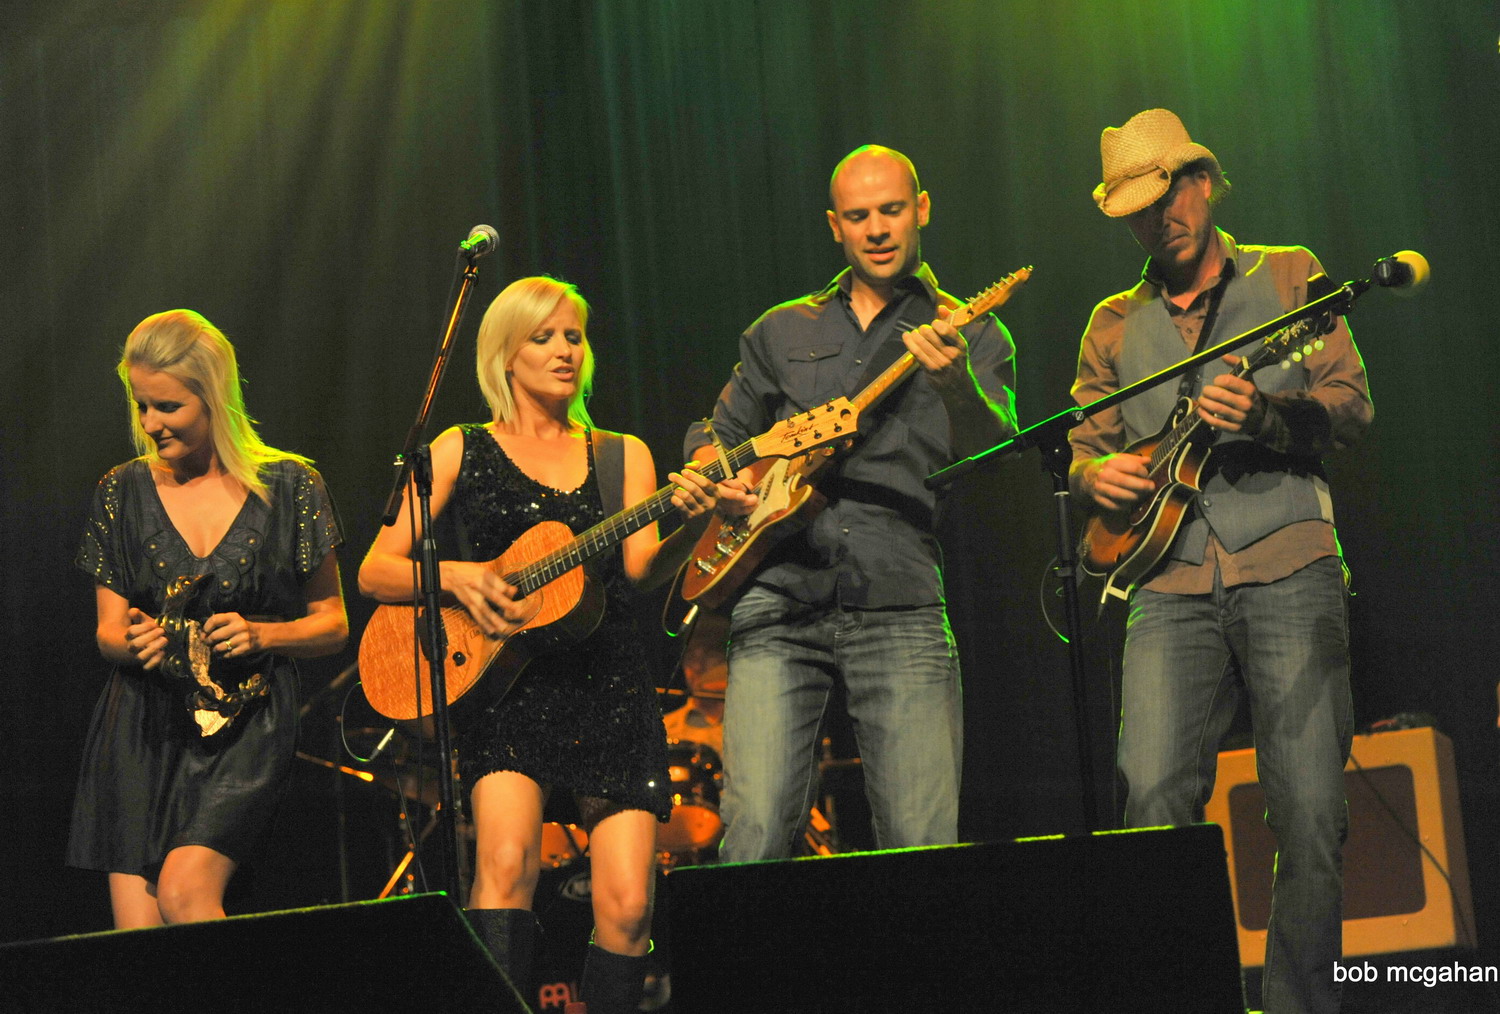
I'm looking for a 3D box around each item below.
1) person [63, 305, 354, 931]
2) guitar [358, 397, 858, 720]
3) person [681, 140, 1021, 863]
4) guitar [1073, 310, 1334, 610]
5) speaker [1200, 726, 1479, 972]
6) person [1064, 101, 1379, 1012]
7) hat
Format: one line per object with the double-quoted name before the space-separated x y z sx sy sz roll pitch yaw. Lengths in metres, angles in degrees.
"person" -1.919 0.367 6.344 0.924 2.183 0.335 4 -14 -17
"guitar" -0.474 0.214 6.480 1.343 0.549 0.182 -28 -34 -4
"person" 0.377 -0.063 6.404 1.134 2.607 0.551 -3 -13 10
"guitar" 1.525 -0.112 6.324 0.180 0.560 1.339 13 -48 -25
"speaker" 2.132 1.215 6.258 0.796 0.722 0.291 -9 -15 7
"person" 1.696 0.079 6.294 1.018 3.308 0.509 -5 -14 19
"hat" 1.518 -1.330 6.795 0.396 0.339 0.592 -11 11 45
